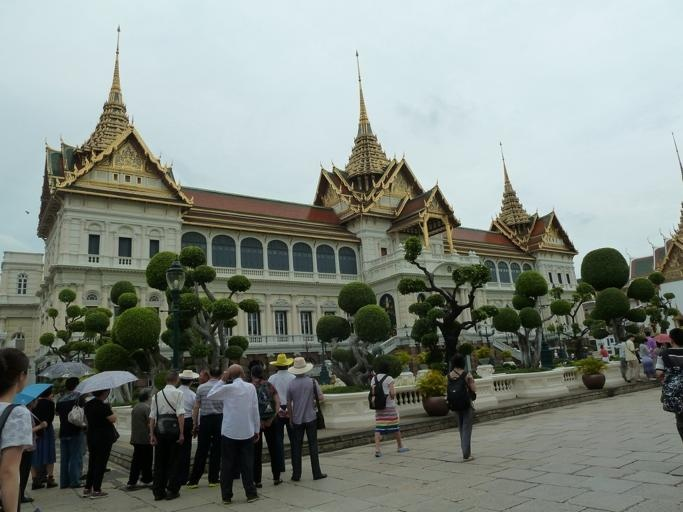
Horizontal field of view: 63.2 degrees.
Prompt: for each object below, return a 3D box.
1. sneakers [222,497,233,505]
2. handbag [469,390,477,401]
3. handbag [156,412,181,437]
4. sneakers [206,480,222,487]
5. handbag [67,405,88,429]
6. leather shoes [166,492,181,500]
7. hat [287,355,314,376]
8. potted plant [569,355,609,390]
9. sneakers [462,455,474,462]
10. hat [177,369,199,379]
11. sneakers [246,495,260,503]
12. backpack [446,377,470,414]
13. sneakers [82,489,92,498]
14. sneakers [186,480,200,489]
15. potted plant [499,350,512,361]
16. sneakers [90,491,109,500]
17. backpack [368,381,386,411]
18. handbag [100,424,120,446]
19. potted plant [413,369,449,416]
[{"bbox_3d":[-1.940,4.117,9.407,0.153,0.105,0.182,0,-12,-15],"label":"sneakers"},{"bbox_3d":[2.574,2.736,10.888,0.148,0.171,0.185,-2,-7,38],"label":"handbag"},{"bbox_3d":[-3.160,3.047,10.063,0.393,0.363,0.204,4,-18,-21],"label":"handbag"},{"bbox_3d":[-2.463,4.330,10.608,0.226,0.097,0.086,-21,-28,29],"label":"sneakers"},{"bbox_3d":[-5.454,3.296,11.436,0.351,0.462,0.320,3,-13,-27],"label":"handbag"},{"bbox_3d":[-3.000,4.243,9.881,0.240,0.107,0.153,3,-13,-25],"label":"leather shoes"},{"bbox_3d":[-0.805,2.164,11.027,0.360,0.191,0.496,-4,4,-3],"label":"hat"},{"bbox_3d":[9.357,4.354,20.695,1.176,1.197,1.106,1,-13,7],"label":"potted plant"},{"bbox_3d":[2.464,3.907,10.752,0.196,0.075,0.265,-5,-11,11],"label":"sneakers"},{"bbox_3d":[-3.024,2.343,11.038,0.564,0.155,0.569,3,-6,-1],"label":"hat"},{"bbox_3d":[-1.483,4.085,9.404,0.225,0.094,0.108,5,-14,-35],"label":"sneakers"},{"bbox_3d":[2.321,2.665,10.955,0.485,0.732,0.418,-16,-12,35],"label":"backpack"},{"bbox_3d":[-4.853,4.464,10.532,0.124,0.145,0.404,7,-15,-40],"label":"sneakers"},{"bbox_3d":[-2.821,4.341,10.565,0.181,0.077,0.084,5,-11,5],"label":"sneakers"},{"bbox_3d":[10.753,6.531,36.228,0.738,0.800,0.759,-16,-12,38],"label":"potted plant"},{"bbox_3d":[-4.518,4.457,10.383,0.306,0.141,0.114,4,-11,-12],"label":"sneakers"},{"bbox_3d":[0.730,2.908,11.603,0.247,0.602,0.439,8,-16,-41],"label":"backpack"},{"bbox_3d":[-4.400,3.396,10.621,0.160,0.392,0.426,-4,-12,4],"label":"handbag"},{"bbox_3d":[2.707,3.983,16.207,1.058,1.302,1.172,0,-11,0],"label":"potted plant"}]
